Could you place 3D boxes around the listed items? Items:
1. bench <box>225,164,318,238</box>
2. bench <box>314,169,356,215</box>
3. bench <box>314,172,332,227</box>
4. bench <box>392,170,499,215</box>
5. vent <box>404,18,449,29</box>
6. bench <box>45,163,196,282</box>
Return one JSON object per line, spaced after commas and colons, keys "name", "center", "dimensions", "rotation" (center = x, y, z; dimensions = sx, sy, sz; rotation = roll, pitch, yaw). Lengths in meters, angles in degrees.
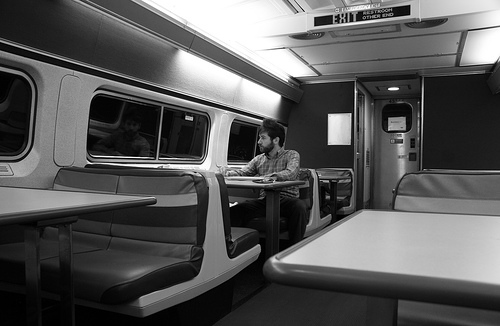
{"name": "bench", "center": [0.492, 0.645, 5.336], "dimensions": [0.913, 0.898, 1.069], "rotation": [-13, 6, -7]}
{"name": "bench", "center": [1.930, 0.748, 7.452], "dimensions": [0.966, 1.063, 0.964], "rotation": [2, 25, 30]}
{"name": "bench", "center": [1.235, 0.592, 5.434], "dimensions": [0.241, 0.898, 0.748], "rotation": [3, 4, 16]}
{"name": "bench", "center": [1.498, 0.224, 2.458], "dimensions": [0.712, 0.321, 0.152], "rotation": [4, 4, 20]}
{"name": "vent", "center": [2.664, -2.105, 4.764], "dimensions": [0.314, 0.063, 0.317], "rotation": [0, 7, 14]}
{"name": "bench", "center": [-0.885, 0.426, 2.796], "dimensions": [1.374, 0.702, 0.620], "rotation": [8, 5, 30]}
